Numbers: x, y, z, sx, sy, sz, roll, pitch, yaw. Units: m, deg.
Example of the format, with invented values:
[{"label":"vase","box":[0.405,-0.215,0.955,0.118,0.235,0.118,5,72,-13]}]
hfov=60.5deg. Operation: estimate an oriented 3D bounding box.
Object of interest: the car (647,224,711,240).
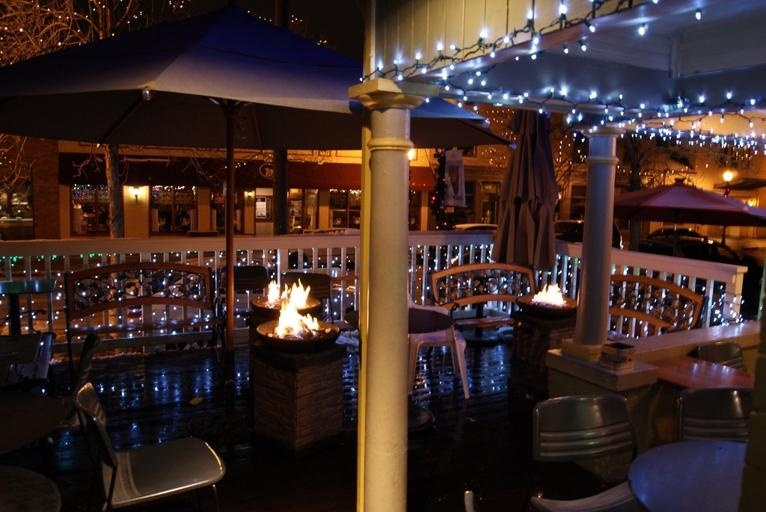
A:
[{"label":"car","box":[10.458,-0.840,22.821,1.917,0.678,0.906,-4,12,-15]}]

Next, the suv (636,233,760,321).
[{"label":"suv","box":[5.176,0.343,10.795,2.512,1.335,1.515,-2,8,-14]}]
